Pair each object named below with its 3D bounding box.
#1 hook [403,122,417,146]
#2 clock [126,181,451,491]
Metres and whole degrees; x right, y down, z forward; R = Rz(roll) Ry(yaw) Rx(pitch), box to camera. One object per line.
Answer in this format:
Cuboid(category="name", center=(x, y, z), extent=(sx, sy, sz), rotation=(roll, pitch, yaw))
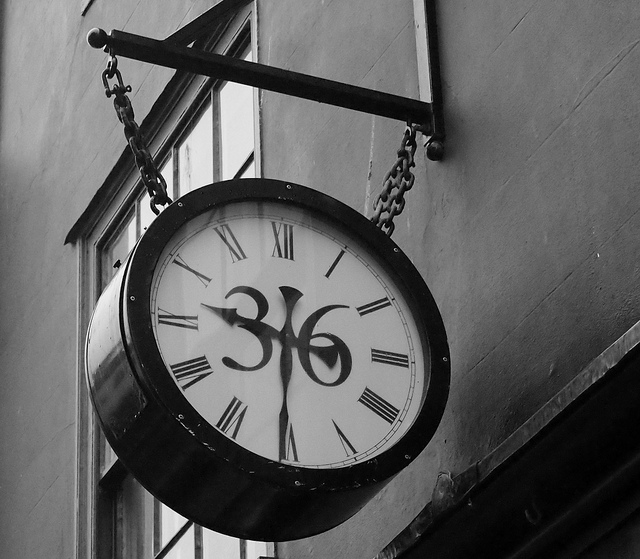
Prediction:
Cuboid(category="hook", center=(0.384, -0.616, 9.414), extent=(0.019, 0.108, 0.046), rotation=(26, -60, -17))
Cuboid(category="clock", center=(-0.146, 0.265, 8.654), extent=(0.934, 1.069, 0.247), rotation=(17, -39, -28))
